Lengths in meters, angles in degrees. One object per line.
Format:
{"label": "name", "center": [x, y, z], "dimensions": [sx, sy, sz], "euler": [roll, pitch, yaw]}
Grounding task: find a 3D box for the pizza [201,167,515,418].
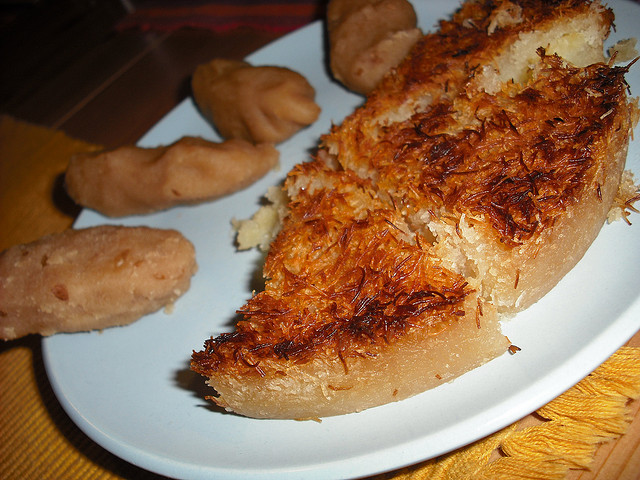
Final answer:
{"label": "pizza", "center": [0.047, 0.235, 1.587], "dimensions": [0.647, 0.243, 0.586], "euler": [39, 87, 7]}
